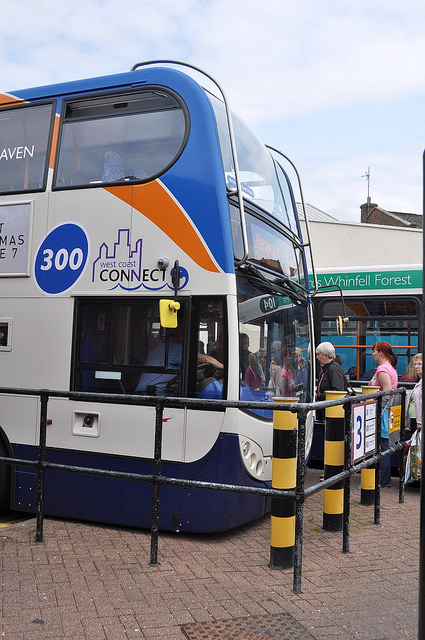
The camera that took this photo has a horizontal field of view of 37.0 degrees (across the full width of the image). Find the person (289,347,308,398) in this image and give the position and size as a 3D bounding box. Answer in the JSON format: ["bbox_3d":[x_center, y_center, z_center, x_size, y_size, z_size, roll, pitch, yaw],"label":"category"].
[{"bbox_3d":[0.907,0.483,6.658,0.197,0.261,0.806,-14,-35,-5],"label":"person"}]

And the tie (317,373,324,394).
[{"bbox_3d":[1.316,0.754,7.661,0.054,0.226,0.234,0,-6,8],"label":"tie"}]

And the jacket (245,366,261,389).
[{"bbox_3d":[0.336,0.480,5.349,0.087,0.176,0.173,-5,9,-11],"label":"jacket"}]

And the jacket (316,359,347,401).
[{"bbox_3d":[1.429,0.750,7.579,0.283,0.530,0.533,10,-17,-1],"label":"jacket"}]
